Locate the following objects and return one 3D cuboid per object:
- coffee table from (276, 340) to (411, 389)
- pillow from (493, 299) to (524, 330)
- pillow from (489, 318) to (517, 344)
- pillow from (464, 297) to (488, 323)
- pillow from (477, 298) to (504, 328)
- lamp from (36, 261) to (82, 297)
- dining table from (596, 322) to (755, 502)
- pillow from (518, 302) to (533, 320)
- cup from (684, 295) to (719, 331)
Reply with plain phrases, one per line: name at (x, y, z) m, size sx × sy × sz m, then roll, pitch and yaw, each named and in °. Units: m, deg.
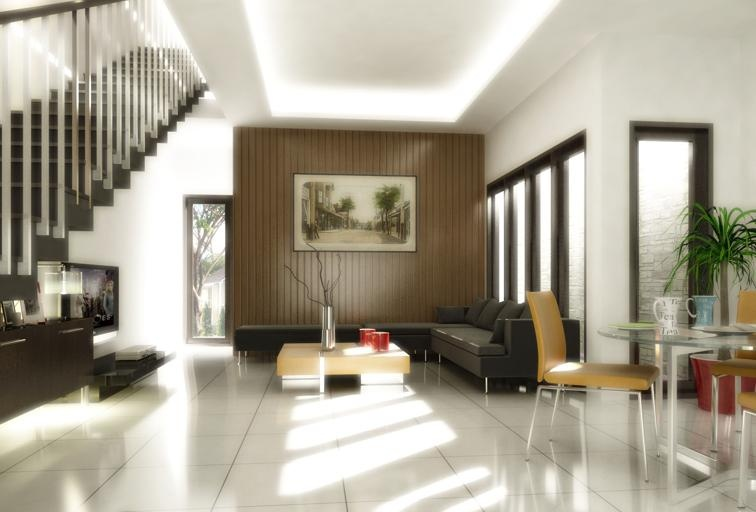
coffee table at (-0.400, 1.389, 6.737) m, size 1.568 × 0.498 × 0.885 m, roll -1°, pitch 9°, yaw -4°
pillow at (1.609, 0.734, 6.727) m, size 0.126 × 0.304 × 0.336 m, roll 18°, pitch -5°, yaw -7°
pillow at (1.441, 0.867, 6.304) m, size 0.220 × 0.300 × 0.433 m, roll -1°, pitch -3°, yaw 8°
pillow at (1.469, 0.840, 8.251) m, size 0.125 × 0.351 × 0.343 m, roll 18°, pitch -4°, yaw -6°
pillow at (1.566, 0.825, 7.641) m, size 0.104 × 0.356 × 0.389 m, roll 22°, pitch 3°, yaw -4°
lamp at (-3.473, 0.271, 5.994) m, size 0.450 × 0.335 × 0.423 m, roll 1°, pitch -4°, yaw -10°
dining table at (2.179, 1.094, 4.283) m, size 1.130 × 0.907 × 1.209 m, roll 0°, pitch 0°, yaw 21°
pillow at (1.760, 0.657, 6.497) m, size 0.064 × 0.171 × 0.164 m, roll 16°, pitch -7°, yaw -34°
cup at (3.099, 0.538, 5.200) m, size 0.339 × 0.339 × 0.263 m, roll 1°, pitch -3°, yaw 2°
